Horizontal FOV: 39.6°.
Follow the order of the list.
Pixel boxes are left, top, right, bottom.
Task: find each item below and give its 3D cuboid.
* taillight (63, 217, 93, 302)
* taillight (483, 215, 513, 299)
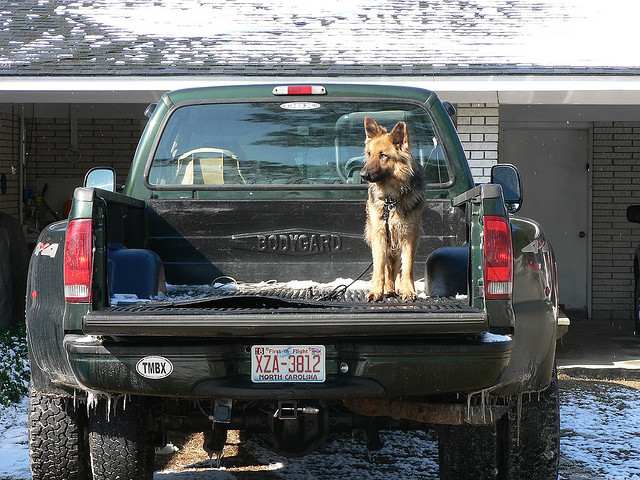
[{"bbox_3d":[-1.692,0.139,6.234,0.194,0.585,0.151,-1,8,-8],"label":"taillight"},{"bbox_3d":[1.254,0.120,6.277,0.194,0.582,0.121,1,8,1],"label":"taillight"}]
